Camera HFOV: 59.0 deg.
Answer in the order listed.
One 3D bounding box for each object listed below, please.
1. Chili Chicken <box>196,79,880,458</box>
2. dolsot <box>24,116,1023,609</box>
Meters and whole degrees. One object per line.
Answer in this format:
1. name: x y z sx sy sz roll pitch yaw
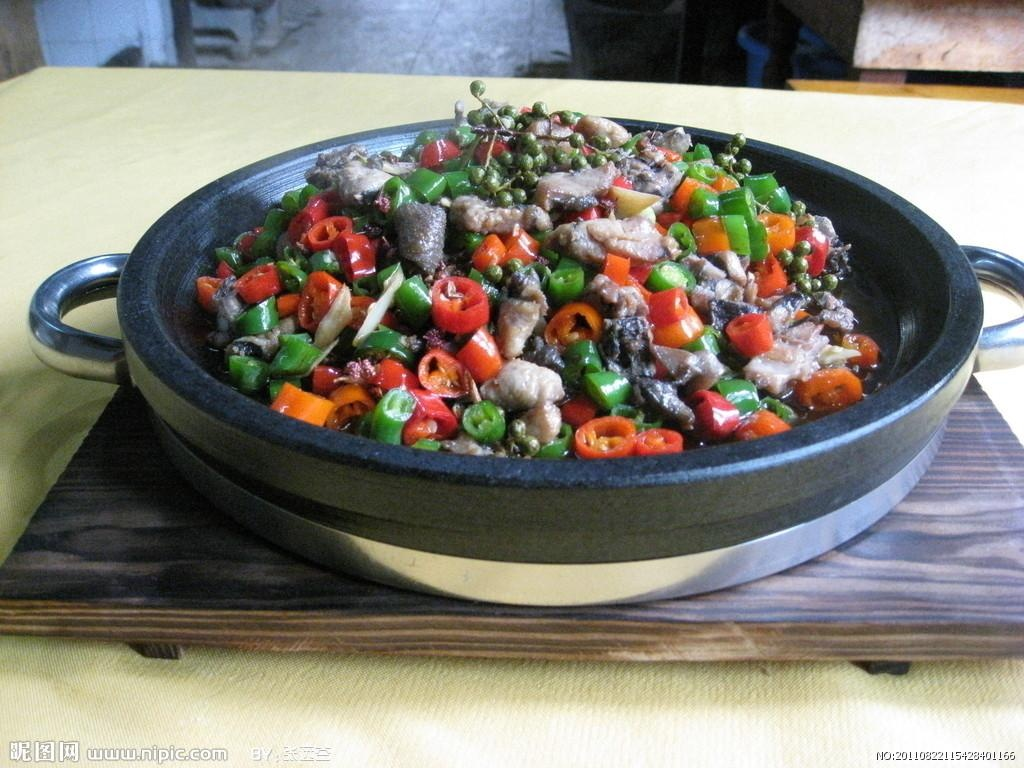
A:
1. Chili Chicken: 0.101 -0.192 2.289 1.389 0.393 1.279 -14 37 -21
2. dolsot: 0.091 -0.065 2.343 2.169 0.407 1.303 2 40 1
